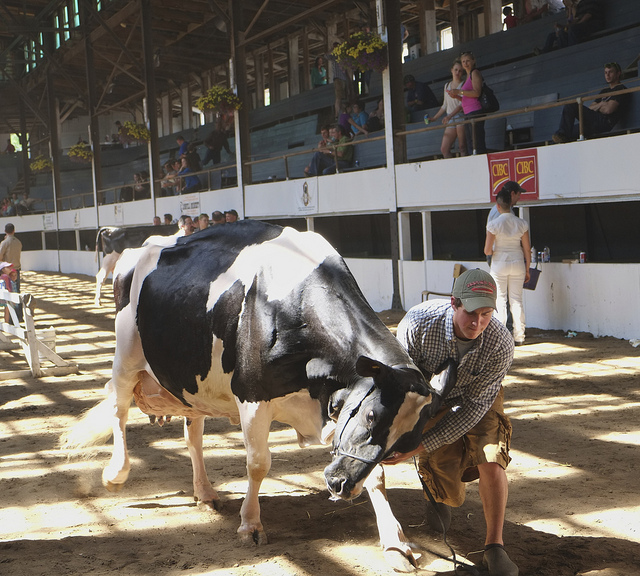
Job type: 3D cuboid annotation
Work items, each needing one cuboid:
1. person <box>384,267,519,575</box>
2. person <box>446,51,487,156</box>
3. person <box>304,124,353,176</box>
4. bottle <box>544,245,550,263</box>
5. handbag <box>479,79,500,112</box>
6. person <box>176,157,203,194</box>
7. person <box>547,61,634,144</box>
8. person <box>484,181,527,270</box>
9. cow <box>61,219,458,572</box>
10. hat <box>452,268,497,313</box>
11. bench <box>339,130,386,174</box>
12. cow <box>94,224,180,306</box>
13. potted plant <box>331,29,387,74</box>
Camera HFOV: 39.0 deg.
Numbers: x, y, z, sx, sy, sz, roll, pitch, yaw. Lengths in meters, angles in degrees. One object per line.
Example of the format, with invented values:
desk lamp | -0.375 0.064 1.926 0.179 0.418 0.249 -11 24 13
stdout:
person | 1.049 0.917 6.648 0.898 2.163 0.710 2 11 26
person | 2.342 -2.893 14.236 0.547 1.573 1.381 -1 10 10
person | 0.157 -2.705 17.714 0.512 0.981 1.258 -11 13 -38
bottle | 3.446 -0.508 13.737 0.073 0.221 0.235 -1 10 12
handbag | 2.612 -2.950 14.039 0.281 0.420 0.290 -2 10 4
person | -3.376 -2.851 22.949 0.437 0.914 0.871 -10 13 -37
person | 3.876 -2.628 12.882 0.989 1.110 1.791 -3 10 -4
person | 2.603 -0.870 12.596 0.320 1.247 0.631 16 -6 8
cow | -0.514 0.744 6.925 3.200 2.437 0.911 6 14 41
hat | 1.117 0.003 6.363 0.306 0.263 0.475 4 13 -10
bench | 0.943 -2.719 18.570 1.048 0.979 1.049 9 16 35
cow | -2.980 -0.443 14.001 0.420 1.115 1.883 22 18 22
potted plant | 0.815 -3.983 15.530 0.904 0.582 0.816 -6 14 -29
